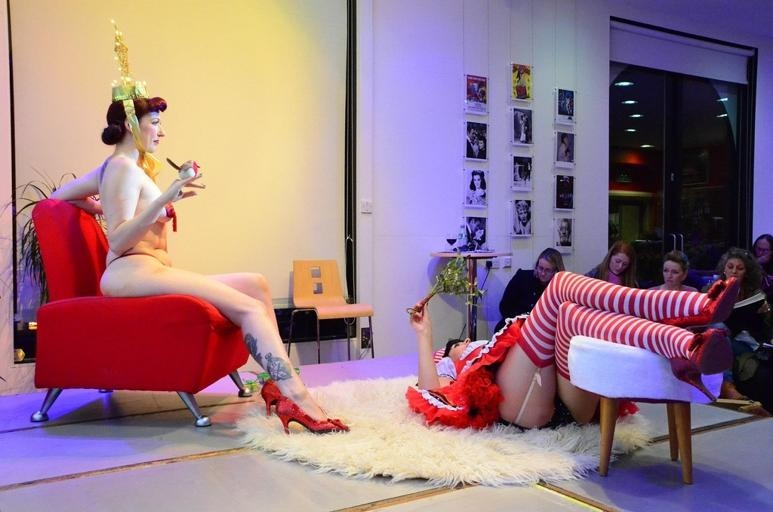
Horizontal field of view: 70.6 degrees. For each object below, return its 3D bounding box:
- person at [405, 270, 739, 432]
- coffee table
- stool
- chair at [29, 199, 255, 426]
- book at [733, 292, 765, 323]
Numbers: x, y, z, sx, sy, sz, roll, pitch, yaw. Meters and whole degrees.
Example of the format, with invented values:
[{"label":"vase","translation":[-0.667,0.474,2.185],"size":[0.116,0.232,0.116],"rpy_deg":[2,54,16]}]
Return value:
[{"label":"person","translation":[0.921,0.456,2.857],"size":[1.253,0.618,0.957],"rpy_deg":[-9,-1,42]},{"label":"coffee table","translation":[0.858,0.376,5.474],"size":[0.730,0.924,0.754],"rpy_deg":[0,1,-18]},{"label":"stool","translation":[1.291,0.723,2.902],"size":[0.655,0.728,0.750],"rpy_deg":[-3,-6,7]},{"label":"chair","translation":[-1.467,0.369,3.833],"size":[1.288,1.599,1.166],"rpy_deg":[0,-4,-2]},{"label":"book","translation":[2.689,0.392,4.036],"size":[0.223,0.224,0.187],"rpy_deg":[-11,-19,33]}]
